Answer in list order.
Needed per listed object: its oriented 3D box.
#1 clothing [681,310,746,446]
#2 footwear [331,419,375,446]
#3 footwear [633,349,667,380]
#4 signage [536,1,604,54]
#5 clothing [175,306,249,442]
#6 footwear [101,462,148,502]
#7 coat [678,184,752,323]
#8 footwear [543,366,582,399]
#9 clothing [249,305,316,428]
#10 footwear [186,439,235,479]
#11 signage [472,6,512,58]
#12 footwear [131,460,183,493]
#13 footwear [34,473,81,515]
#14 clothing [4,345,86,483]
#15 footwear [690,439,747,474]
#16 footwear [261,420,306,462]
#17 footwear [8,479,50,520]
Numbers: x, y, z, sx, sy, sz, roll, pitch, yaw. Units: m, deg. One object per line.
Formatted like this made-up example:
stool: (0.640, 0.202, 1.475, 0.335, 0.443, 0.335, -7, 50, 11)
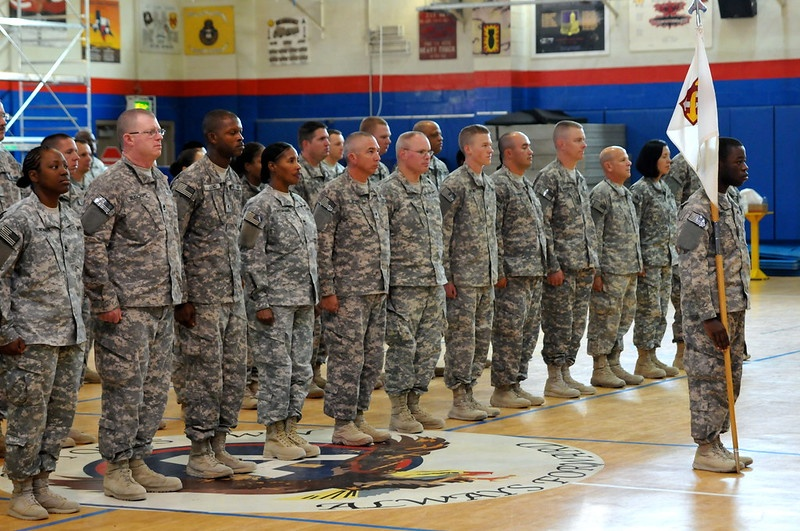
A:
clothing: (2.035, 0.723, 6.630, 0.321, 0.857, 0.367, 0, 9, 28)
footwear: (-0.266, 1.201, 7.293, 0.375, 0.132, 0.132, 1, 2, 17)
footwear: (2.403, 0.927, 9.441, 0.430, 0.287, 0.173, 0, -3, 15)
signage: (3.152, -4.344, 18.529, 1.282, 0.659, 0.044, 4, 14, 27)
clothing: (-1.292, 0.650, 6.749, 0.476, 0.994, 0.604, -9, -13, 21)
footwear: (-1.667, 1.306, 6.283, 0.159, 0.226, 0.424, -4, 2, -42)
coat: (2.031, -0.075, 6.629, 0.378, 0.846, 0.580, 4, 11, 43)
footwear: (1.471, 1.017, 8.765, 0.507, 0.266, 0.169, 0, -2, 12)
clothing: (-0.823, 0.618, 7.080, 0.458, 0.964, 0.522, -3, -6, 25)
footwear: (-1.210, 1.251, 6.647, 0.167, 0.239, 0.444, 5, -5, -44)
signage: (1.745, -4.308, 18.735, 1.163, 0.976, 0.167, 5, 11, 32)
footwear: (-1.513, 1.302, 6.406, 0.379, 0.175, 0.128, -3, 14, 22)
footwear: (-2.023, 1.351, 6.081, 0.387, 0.193, 0.119, -1, 7, 30)
clothing: (-2.066, 0.842, 6.004, 0.530, 0.807, 0.248, -7, 9, -20)
footwear: (2.056, 1.247, 6.617, 0.359, 0.133, 0.181, -1, 2, 8)
footwear: (-0.773, 1.190, 6.997, 0.154, 0.247, 0.419, -2, -2, -39)
footwear: (-2.161, 1.359, 5.954, 0.193, 0.227, 0.125, 2, 10, 37)
